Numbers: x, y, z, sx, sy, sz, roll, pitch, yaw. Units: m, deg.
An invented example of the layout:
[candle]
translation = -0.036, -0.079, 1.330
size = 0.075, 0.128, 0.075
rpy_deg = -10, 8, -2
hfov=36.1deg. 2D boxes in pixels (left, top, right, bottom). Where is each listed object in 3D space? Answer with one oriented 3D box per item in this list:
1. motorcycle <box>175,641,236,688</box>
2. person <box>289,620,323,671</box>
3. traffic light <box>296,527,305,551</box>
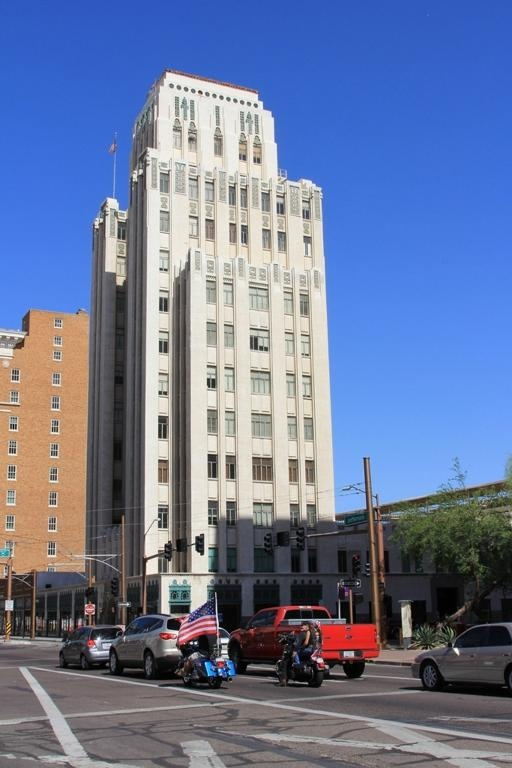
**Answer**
[motorcycle]
translation = -1.045, 6.044, 16.959
size = 0.967, 1.045, 1.253
rpy_deg = 2, -16, -23
[person]
translation = 1.090, 5.660, 16.928
size = 0.673, 0.876, 0.406
rpy_deg = -4, -14, 1
[traffic light]
translation = 2.364, 8.137, 41.444
size = 0.400, 1.158, 1.061
rpy_deg = -3, -14, -4
